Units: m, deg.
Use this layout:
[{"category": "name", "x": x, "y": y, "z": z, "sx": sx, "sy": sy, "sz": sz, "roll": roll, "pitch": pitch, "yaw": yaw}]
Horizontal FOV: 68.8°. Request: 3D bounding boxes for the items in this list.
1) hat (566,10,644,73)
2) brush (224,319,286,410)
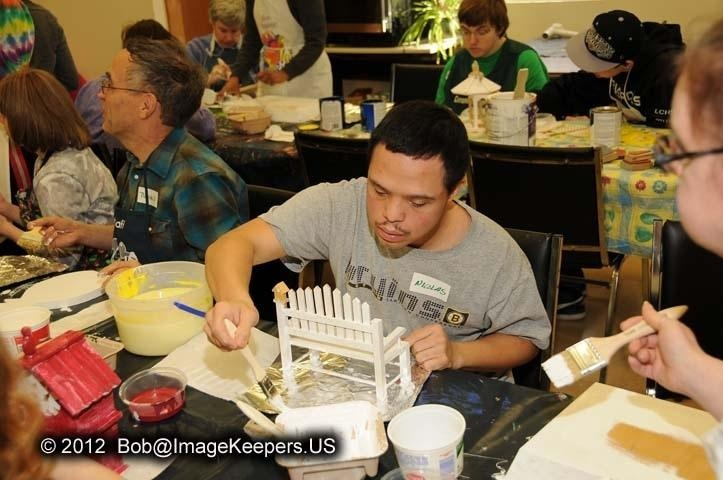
[{"category": "hat", "x": 1.458, "y": -1.147, "z": 3.256, "sx": 0.451, "sy": 0.193, "sz": 0.326, "roll": -24, "pitch": 67, "yaw": -3}, {"category": "brush", "x": -0.295, "y": 0.348, "z": 1.445, "sx": 0.037, "sy": 0.251, "sz": 0.018, "roll": -28, "pitch": -6, "yaw": -31}]
